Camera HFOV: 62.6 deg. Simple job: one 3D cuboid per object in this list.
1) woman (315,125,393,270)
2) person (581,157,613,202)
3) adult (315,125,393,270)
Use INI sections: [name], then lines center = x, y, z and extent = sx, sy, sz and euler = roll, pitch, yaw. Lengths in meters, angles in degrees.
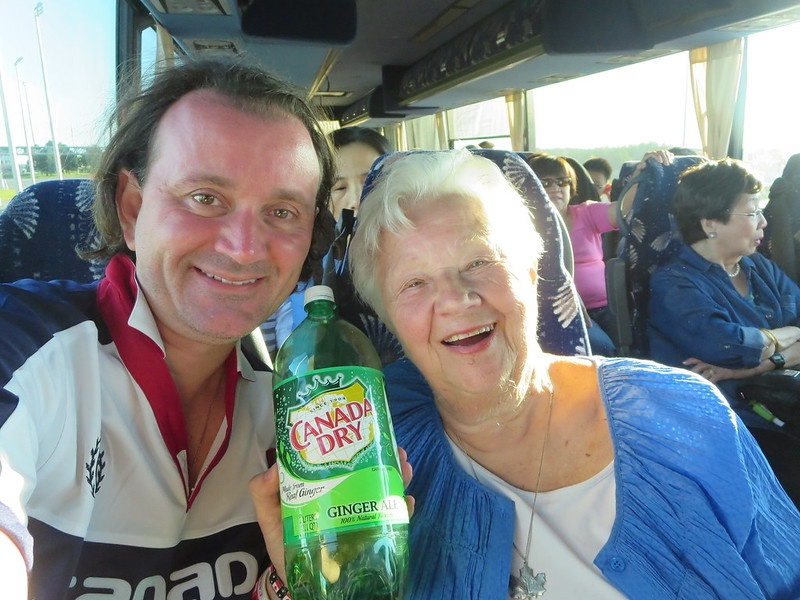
[woman]
center = -0.213, -0.730, 4.138
extent = 0.463, 0.690, 0.643
euler = -5, 7, 3
[person]
center = 2.242, -1.427, 7.380
extent = 0.279, 0.324, 0.607
euler = 13, 26, -2
[adult]
center = -0.210, -0.734, 4.133
extent = 0.450, 0.669, 0.653
euler = -4, 6, 8
